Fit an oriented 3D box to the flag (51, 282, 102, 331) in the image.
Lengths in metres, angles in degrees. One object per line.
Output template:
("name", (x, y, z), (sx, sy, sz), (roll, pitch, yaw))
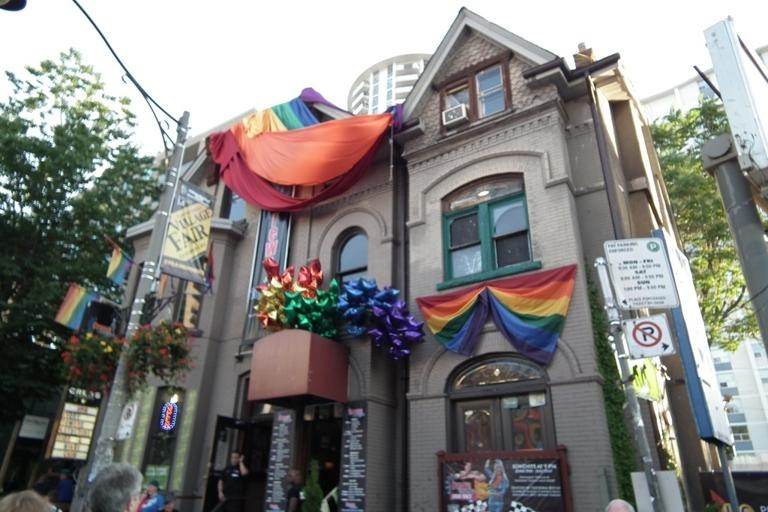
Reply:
("flag", (-11.843, 2.023, 18.648), (1.181, 1.823, 1.326), (-10, -45, 28))
